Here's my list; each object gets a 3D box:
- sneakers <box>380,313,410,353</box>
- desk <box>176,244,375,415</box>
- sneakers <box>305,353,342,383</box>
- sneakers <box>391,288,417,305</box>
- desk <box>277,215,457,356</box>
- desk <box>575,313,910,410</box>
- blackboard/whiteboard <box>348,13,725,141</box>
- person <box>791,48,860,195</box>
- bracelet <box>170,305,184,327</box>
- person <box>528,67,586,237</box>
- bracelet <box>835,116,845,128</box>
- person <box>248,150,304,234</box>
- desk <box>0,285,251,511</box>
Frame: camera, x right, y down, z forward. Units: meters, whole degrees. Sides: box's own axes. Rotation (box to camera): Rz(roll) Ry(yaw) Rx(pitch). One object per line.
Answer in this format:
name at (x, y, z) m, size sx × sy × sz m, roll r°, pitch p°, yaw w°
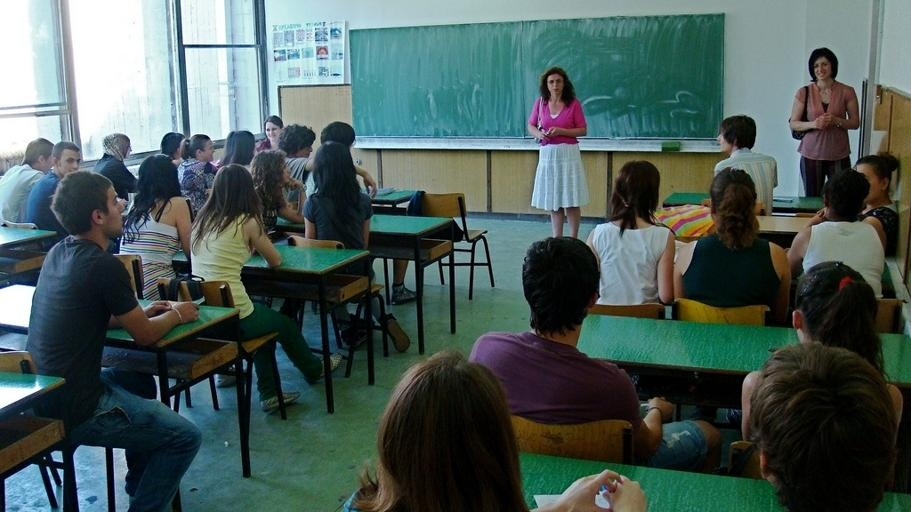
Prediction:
sneakers at (-0.482, 0.627, 5.269) m, size 0.157 × 0.354 × 0.149 m, roll -37°, pitch 11°, yaw -20°
desk at (-1.180, 0.345, 5.020) m, size 1.431 × 1.257 × 1.044 m, roll 5°, pitch 17°, yaw 21°
sneakers at (-0.957, 0.828, 4.881) m, size 0.155 × 0.159 × 0.422 m, roll 7°, pitch 19°, yaw 18°
sneakers at (-0.505, 0.377, 6.209) m, size 0.119 × 0.189 × 0.289 m, roll 5°, pitch 13°, yaw 39°
desk at (-0.825, 0.413, 4.835) m, size 0.870 × 1.092 × 0.793 m, roll 10°, pitch -3°, yaw -34°
desk at (1.287, 0.487, 3.385) m, size 1.325 × 0.286 × 0.540 m, roll 6°, pitch 21°, yaw 26°
blackboard/whiteboard at (1.035, -2.420, 8.776) m, size 4.909 × 1.711 × 0.548 m, roll 2°, pitch 8°, yaw 22°
person at (3.641, -1.052, 6.184) m, size 0.606 × 1.771 × 0.592 m, roll -8°, pitch 17°, yaw 12°
bracelet at (-1.562, 0.332, 3.602) m, size 0.025 × 0.081 × 0.088 m, roll -17°, pitch 24°, yaw -28°
person at (1.197, -1.185, 7.377) m, size 0.652 × 1.940 × 0.625 m, roll 0°, pitch 7°, yaw 7°
bracelet at (3.570, -1.265, 5.958) m, size 0.109 × 0.077 × 0.037 m, roll 15°, pitch -7°, yaw 22°
person at (-1.459, -0.520, 5.477) m, size 0.537 × 0.719 × 0.468 m, roll 8°, pitch 22°, yaw -7°
desk at (-1.862, 0.810, 3.555) m, size 1.164 × 0.761 × 0.554 m, roll 13°, pitch 23°, yaw 23°
